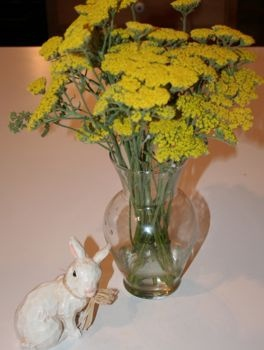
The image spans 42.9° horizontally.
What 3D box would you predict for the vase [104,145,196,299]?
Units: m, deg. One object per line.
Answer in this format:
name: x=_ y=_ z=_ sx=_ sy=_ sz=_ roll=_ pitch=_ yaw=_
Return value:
vase: x=0.060 y=0.120 z=0.865 sx=0.245 sy=0.325 sz=0.224 roll=-3 pitch=0 yaw=-5
